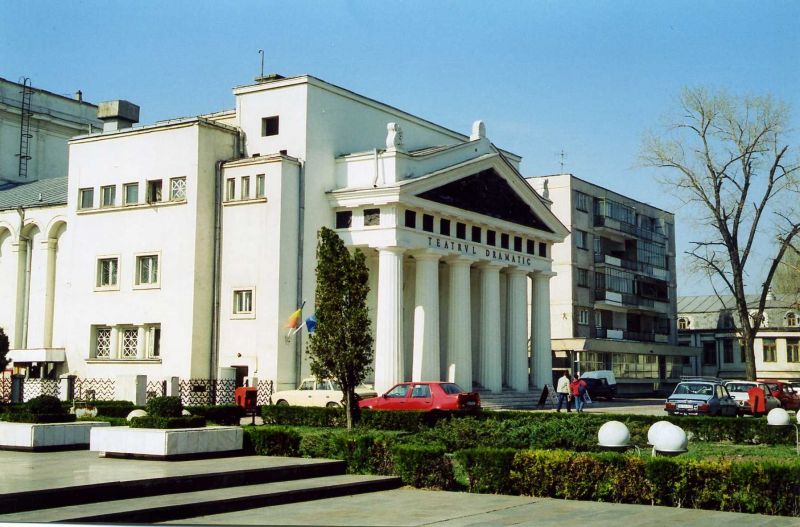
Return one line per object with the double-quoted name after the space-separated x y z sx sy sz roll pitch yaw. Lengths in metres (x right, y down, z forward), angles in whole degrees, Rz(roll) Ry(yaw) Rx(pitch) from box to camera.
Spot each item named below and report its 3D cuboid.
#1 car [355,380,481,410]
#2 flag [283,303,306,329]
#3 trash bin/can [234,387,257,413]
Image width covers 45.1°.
1.091 6.386 45.355 4.612 1.403 2.129 0 -8 20 "car"
-5.623 2.784 51.911 1.141 1.493 0.661 3 -12 -23 "flag"
-7.699 6.904 48.465 0.978 1.299 0.891 2 -11 -17 "trash bin/can"
